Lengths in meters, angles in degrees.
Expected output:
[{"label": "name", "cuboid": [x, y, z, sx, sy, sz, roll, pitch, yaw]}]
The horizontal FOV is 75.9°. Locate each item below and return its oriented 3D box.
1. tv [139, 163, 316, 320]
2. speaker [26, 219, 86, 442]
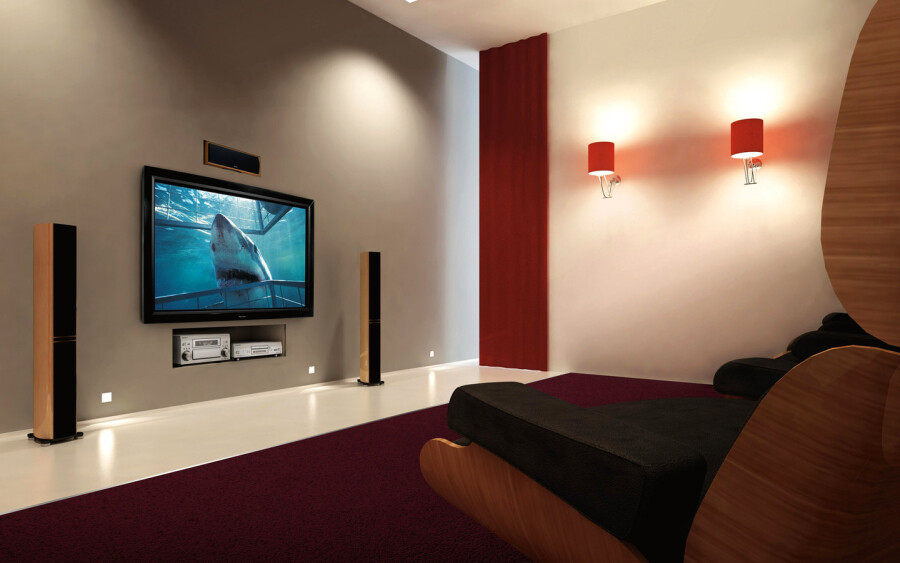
[{"label": "tv", "cuboid": [-2.145, -0.379, 5.412, 0.075, 1.205, 1.641, -2, -3, 39]}, {"label": "speaker", "cuboid": [-2.988, 0.392, 4.370, 0.192, 1.483, 0.474, 0, 10, -17]}]
